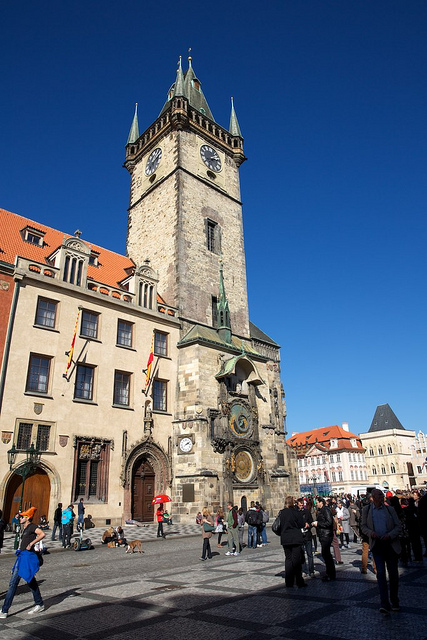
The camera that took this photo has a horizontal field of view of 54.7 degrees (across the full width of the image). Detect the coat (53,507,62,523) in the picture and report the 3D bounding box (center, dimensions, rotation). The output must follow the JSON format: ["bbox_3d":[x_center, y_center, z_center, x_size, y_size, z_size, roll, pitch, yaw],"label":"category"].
[{"bbox_3d":[-6.463,8.016,17.210,0.253,0.539,0.330,6,-23,-25],"label":"coat"}]

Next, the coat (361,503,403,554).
[{"bbox_3d":[2.467,2.995,6.052,0.538,0.647,0.414,-6,-16,15],"label":"coat"}]

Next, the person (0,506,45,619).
[{"bbox_3d":[-2.891,3.655,6.376,0.602,1.423,0.883,4,-22,-21],"label":"person"}]

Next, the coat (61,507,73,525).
[{"bbox_3d":[-5.460,7.263,15.455,0.330,0.483,0.477,3,-21,-17],"label":"coat"}]

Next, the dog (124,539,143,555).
[{"bbox_3d":[-2.669,7.562,13.974,0.525,0.359,0.582,4,-22,-19],"label":"dog"}]

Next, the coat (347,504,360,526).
[{"bbox_3d":[4.752,6.459,13.849,0.290,0.614,0.828,-7,-21,8],"label":"coat"}]

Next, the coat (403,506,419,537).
[{"bbox_3d":[5.059,5.020,10.462,0.312,0.663,0.578,-11,-22,20],"label":"coat"}]

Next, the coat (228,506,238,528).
[{"bbox_3d":[0.644,6.111,13.019,0.342,0.768,0.790,0,-50,5],"label":"coat"}]

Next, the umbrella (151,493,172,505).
[{"bbox_3d":[-2.865,9.266,21.679,0.659,0.260,0.663,-28,-38,26],"label":"umbrella"}]

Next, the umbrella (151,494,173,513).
[{"bbox_3d":[-2.726,9.410,21.557,0.705,0.627,0.681,-18,-27,7],"label":"umbrella"}]

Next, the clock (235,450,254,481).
[{"bbox_3d":[1.901,8.939,25.596,0.216,1.619,1.608,-18,-34,33],"label":"clock"}]

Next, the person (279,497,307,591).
[{"bbox_3d":[1.524,4.030,7.716,0.433,1.435,0.477,25,-37,-35],"label":"person"}]

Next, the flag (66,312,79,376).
[{"bbox_3d":[-7.189,1.109,21.334,0.504,3.391,0.486,-20,-26,36],"label":"flag"}]

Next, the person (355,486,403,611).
[{"bbox_3d":[2.413,3.205,5.916,0.601,1.533,0.434,23,-31,-38],"label":"person"}]

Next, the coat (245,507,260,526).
[{"bbox_3d":[1.392,6.959,14.784,0.552,0.586,0.528,-7,-21,8],"label":"coat"}]

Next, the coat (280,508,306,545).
[{"bbox_3d":[1.462,3.796,7.730,0.477,0.568,0.509,-13,-22,23],"label":"coat"}]

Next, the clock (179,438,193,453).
[{"bbox_3d":[-1.586,7.205,24.091,1.047,0.818,0.104,-22,-27,39],"label":"clock"}]

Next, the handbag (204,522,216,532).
[{"bbox_3d":[-0.162,5.627,11.370,0.384,0.210,0.181,-22,-27,40],"label":"handbag"}]

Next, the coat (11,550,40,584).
[{"bbox_3d":[-2.774,3.575,6.168,0.426,0.221,0.329,14,-10,45],"label":"coat"}]

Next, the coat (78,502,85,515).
[{"bbox_3d":[-5.996,8.398,18.679,0.199,0.489,0.261,6,-23,-25],"label":"coat"}]

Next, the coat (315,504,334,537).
[{"bbox_3d":[2.246,4.022,8.379,0.334,0.528,0.448,-8,-21,12],"label":"coat"}]

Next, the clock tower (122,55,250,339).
[{"bbox_3d":[-2.157,-13.026,35.674,9.650,30.467,5.687,-1,-21,-8],"label":"clock tower"}]

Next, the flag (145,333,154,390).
[{"bbox_3d":[-3.787,2.408,24.729,0.522,3.410,0.502,6,-23,-24],"label":"flag"}]
